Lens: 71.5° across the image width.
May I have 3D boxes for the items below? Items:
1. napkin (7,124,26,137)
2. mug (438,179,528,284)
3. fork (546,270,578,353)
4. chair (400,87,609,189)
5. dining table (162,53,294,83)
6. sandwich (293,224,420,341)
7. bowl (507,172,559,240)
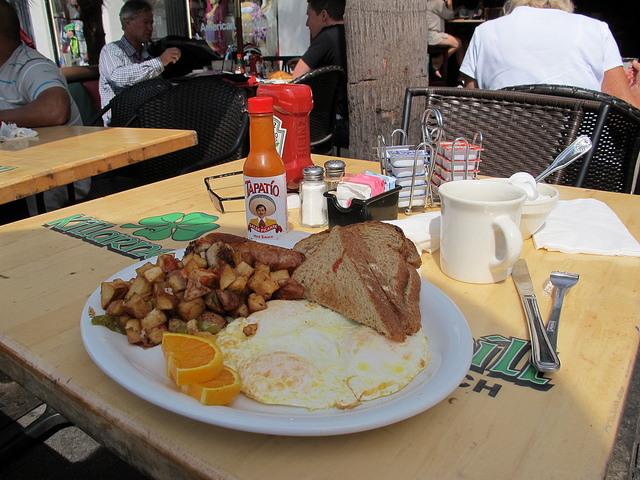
[{"bbox_3d":[-1.639,-0.603,2.447,0.075,0.029,0.074,22,7,8],"label":"napkin"},{"bbox_3d":[0.369,-0.019,1.104,0.221,0.230,0.283,-7,15,-6],"label":"mug"},{"bbox_3d":[0.512,0.154,0.956,0.056,0.018,0.264,6,38,33],"label":"fork"},{"bbox_3d":[0.814,-0.514,2.129,0.838,0.294,0.590,13,23,12],"label":"chair"},{"bbox_3d":[-1.057,-2.328,5.945,1.172,0.265,1.098,21,28,36],"label":"dining table"},{"bbox_3d":[0.082,0.088,0.908,0.071,0.197,0.219,12,-7,-27],"label":"sandwich"},{"bbox_3d":[0.580,-0.086,1.205,0.146,0.108,0.148,-3,30,2],"label":"bowl"}]
